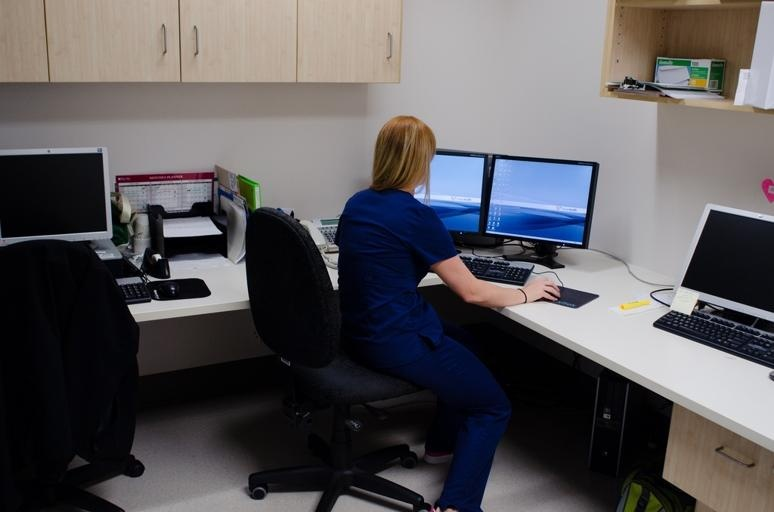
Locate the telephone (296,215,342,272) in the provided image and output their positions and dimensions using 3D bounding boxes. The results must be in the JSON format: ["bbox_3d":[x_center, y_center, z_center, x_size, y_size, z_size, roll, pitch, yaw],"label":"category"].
[{"bbox_3d":[-0.351,-0.085,3.144,0.297,0.108,0.274,4,53,-45],"label":"telephone"}]

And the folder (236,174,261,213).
[{"bbox_3d":[-0.740,-0.327,2.970,0.054,0.236,0.243,-11,31,-30],"label":"folder"}]

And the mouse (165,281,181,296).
[{"bbox_3d":[-0.987,0.148,2.579,0.050,0.049,0.078,-9,20,-22],"label":"mouse"}]

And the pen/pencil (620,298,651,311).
[{"bbox_3d":[1.145,0.221,2.568,0.122,0.024,0.023,-10,-4,-23],"label":"pen/pencil"}]

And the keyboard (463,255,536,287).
[{"bbox_3d":[0.567,0.075,2.807,0.293,0.060,0.275,-1,17,1],"label":"keyboard"}]
